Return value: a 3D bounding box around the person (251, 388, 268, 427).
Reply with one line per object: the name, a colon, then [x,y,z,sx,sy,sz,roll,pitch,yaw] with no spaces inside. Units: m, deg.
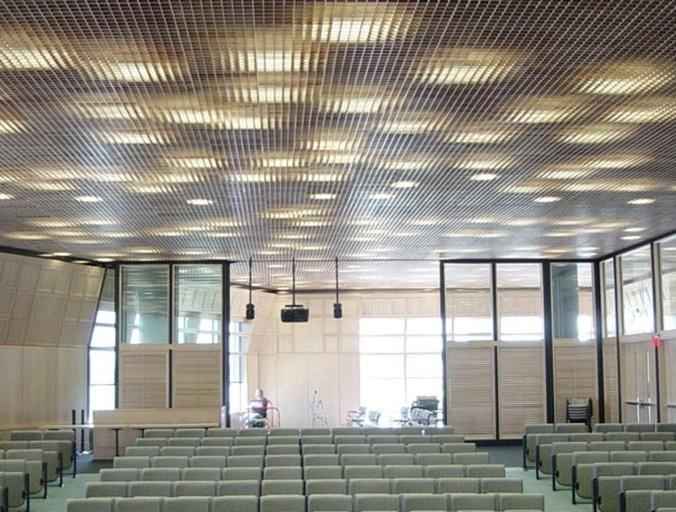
person: [-2.540,5.447,22.193,0.726,1.268,0.737,-1,-6,-34]
